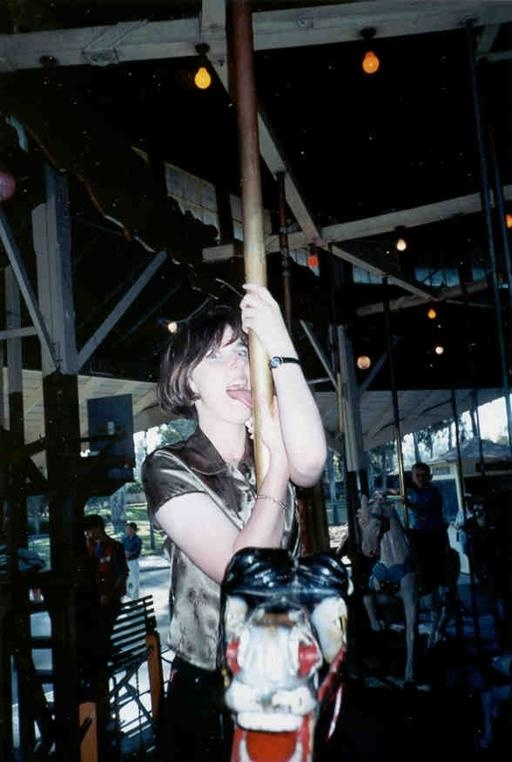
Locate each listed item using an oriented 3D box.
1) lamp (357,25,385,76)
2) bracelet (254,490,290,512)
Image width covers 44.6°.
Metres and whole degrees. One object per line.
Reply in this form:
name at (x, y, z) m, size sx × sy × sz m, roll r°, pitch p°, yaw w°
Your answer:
lamp at (0.371, -1.087, 2.064) m, size 0.052 × 0.134 × 0.057 m, roll -7°, pitch 20°, yaw 6°
bracelet at (0.040, 0.231, 1.197) m, size 0.035 × 0.045 × 0.013 m, roll -7°, pitch 31°, yaw 40°
